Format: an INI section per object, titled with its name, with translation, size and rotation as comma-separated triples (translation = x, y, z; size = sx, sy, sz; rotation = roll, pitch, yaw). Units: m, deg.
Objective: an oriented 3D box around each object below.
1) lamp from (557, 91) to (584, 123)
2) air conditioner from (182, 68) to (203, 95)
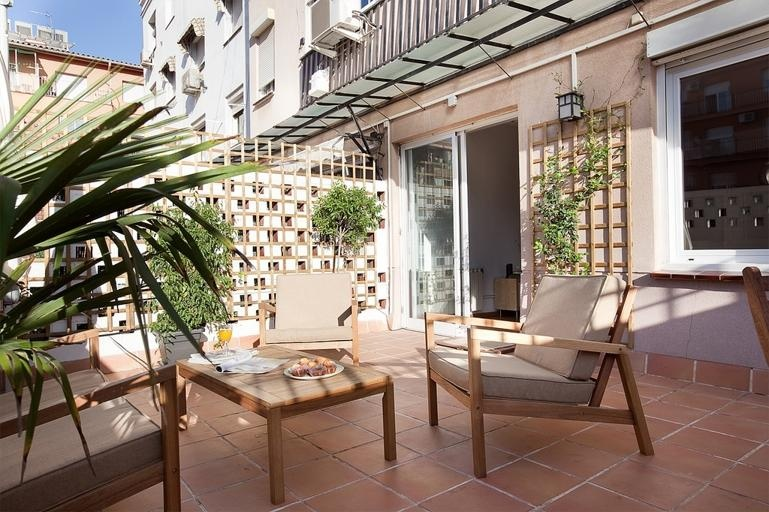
[lamp]
translation = 2.024, -1.639, 5.596
size = 0.305, 0.312, 0.253
rotation = 4, 12, 30
[air conditioner]
translation = -4.813, -4.390, 12.871
size = 0.373, 0.607, 0.648
rotation = 6, -20, -38
